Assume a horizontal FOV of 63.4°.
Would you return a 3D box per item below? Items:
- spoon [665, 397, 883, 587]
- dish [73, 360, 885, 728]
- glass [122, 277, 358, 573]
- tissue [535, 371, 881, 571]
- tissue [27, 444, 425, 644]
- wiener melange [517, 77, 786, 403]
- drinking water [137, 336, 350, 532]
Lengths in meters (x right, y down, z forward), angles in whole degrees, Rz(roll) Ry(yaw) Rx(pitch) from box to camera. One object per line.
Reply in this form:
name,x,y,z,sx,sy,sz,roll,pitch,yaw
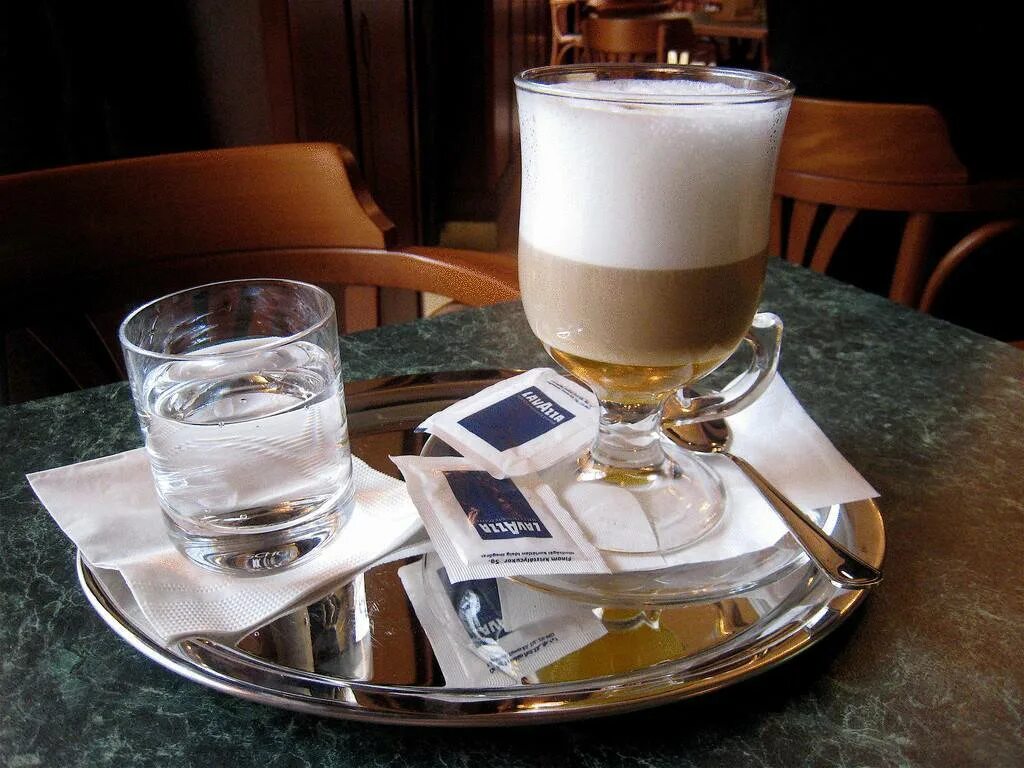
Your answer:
spoon,0.184,0.068,0.607,0.047,0.018,0.230,-5,21,-12
dish,-0.003,0.107,0.583,0.460,0.023,0.371,16,36,22
glass,-0.188,0.047,0.597,0.154,0.142,0.148,2,13,34
tissue,0.123,0.014,0.682,0.094,0.054,0.399,-7,21,-19
tissue,-0.176,0.111,0.542,0.157,0.018,0.161,-15,33,-29
wiener melange,0.121,-0.111,0.652,0.242,0.210,0.206,-2,22,-2
drinking water,-0.186,0.040,0.597,0.158,0.112,0.146,2,15,11
